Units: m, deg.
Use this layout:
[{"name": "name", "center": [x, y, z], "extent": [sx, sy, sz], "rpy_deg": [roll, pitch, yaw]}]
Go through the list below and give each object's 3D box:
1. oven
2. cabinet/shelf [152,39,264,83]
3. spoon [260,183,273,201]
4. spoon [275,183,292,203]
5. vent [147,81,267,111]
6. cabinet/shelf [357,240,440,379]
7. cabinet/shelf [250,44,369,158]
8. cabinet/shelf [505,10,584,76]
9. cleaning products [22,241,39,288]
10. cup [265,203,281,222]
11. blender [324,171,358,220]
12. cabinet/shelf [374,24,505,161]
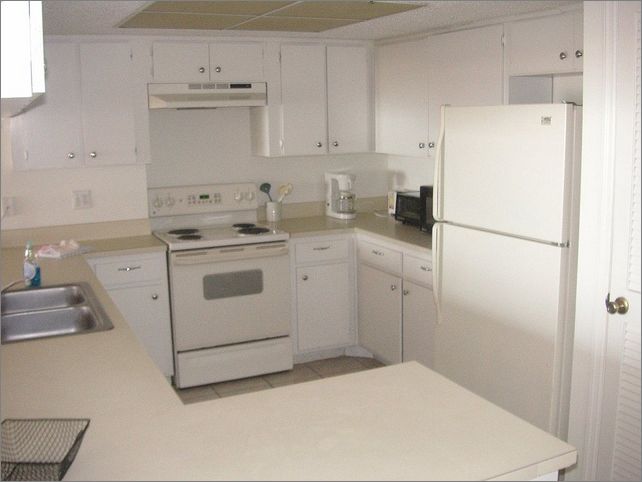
[{"name": "oven", "center": [-0.829, 0.470, 4.126], "extent": [1.032, 0.895, 0.671], "rpy_deg": [-3, -2, -40]}, {"name": "cabinet/shelf", "center": [-0.865, -1.371, 4.049], "extent": [0.854, 0.309, 0.238], "rpy_deg": [-1, 2, -3]}, {"name": "spoon", "center": [-0.470, -0.432, 4.511], "extent": [0.132, 0.161, 0.121], "rpy_deg": [-5, 14, -24]}, {"name": "spoon", "center": [-0.321, -0.388, 4.498], "extent": [0.077, 0.236, 0.033], "rpy_deg": [17, -19, 25]}, {"name": "vent", "center": [-0.864, -1.144, 4.003], "extent": [0.925, 0.211, 0.115], "rpy_deg": [-5, 14, -25]}, {"name": "cabinet/shelf", "center": [0.558, 0.435, 3.589], "extent": [0.351, 0.904, 0.983], "rpy_deg": [-2, 6, -23]}, {"name": "cabinet/shelf", "center": [0.148, -1.232, 4.485], "extent": [1.085, 0.941, 0.424], "rpy_deg": [11, 22, 33]}, {"name": "cabinet/shelf", "center": [1.449, -1.222, 3.243], "extent": [0.501, 0.308, 0.270], "rpy_deg": [11, 21, 39]}, {"name": "cleaning products", "center": [-1.534, 0.115, 2.704], "extent": [0.075, 0.244, 0.173], "rpy_deg": [-7, 15, -30]}, {"name": "cup", "center": [-0.413, -0.251, 4.452], "extent": [0.141, 0.159, 0.158], "rpy_deg": [-3, 14, -18]}, {"name": "blender", "center": [0.175, -0.405, 4.595], "extent": [0.169, 0.397, 0.345], "rpy_deg": [-6, 14, -25]}, {"name": "cabinet/shelf", "center": [0.855, -1.087, 3.651], "extent": [0.436, 1.020, 1.218], "rpy_deg": [-1, 5, -34]}]
